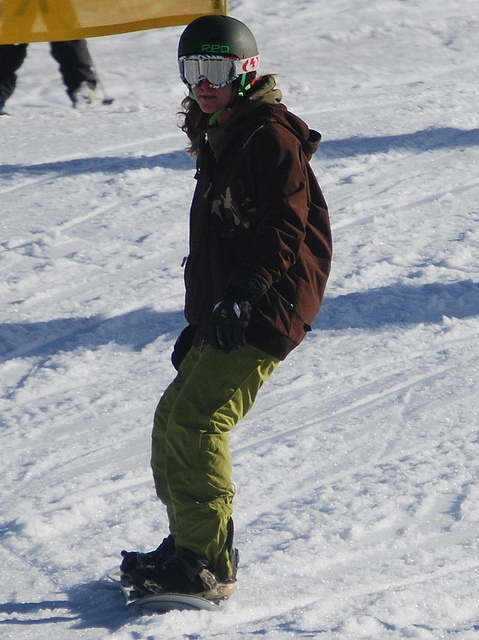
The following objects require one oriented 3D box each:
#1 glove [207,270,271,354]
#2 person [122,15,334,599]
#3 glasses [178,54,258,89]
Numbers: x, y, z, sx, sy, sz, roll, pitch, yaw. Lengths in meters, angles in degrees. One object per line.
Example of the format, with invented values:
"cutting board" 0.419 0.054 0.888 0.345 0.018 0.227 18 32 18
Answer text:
"glove" -0.005 -0.027 3.104 0.113 0.246 0.202 16 5 -36
"person" -0.067 -0.026 3.291 0.747 1.946 1.091 0 28 11
"glasses" -0.066 -0.875 3.260 0.277 0.120 0.177 -5 25 -2
